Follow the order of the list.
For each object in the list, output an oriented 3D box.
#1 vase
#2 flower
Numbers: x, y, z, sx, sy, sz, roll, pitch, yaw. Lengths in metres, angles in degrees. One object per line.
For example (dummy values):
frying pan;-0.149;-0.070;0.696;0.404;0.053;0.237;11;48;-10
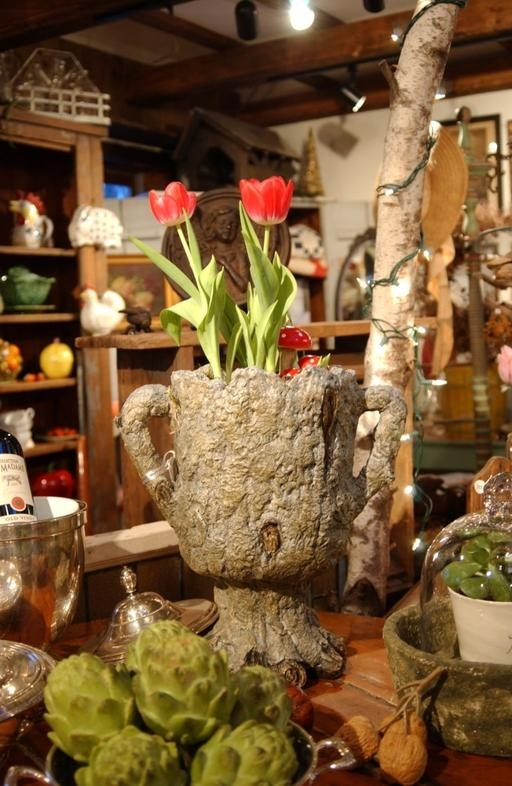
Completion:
vase;0.007;0.149;0.742;0.320;0.357;0.172;1;2;-10
flower;-0.031;-0.132;0.809;0.168;0.235;0.182;-18;24;-36
